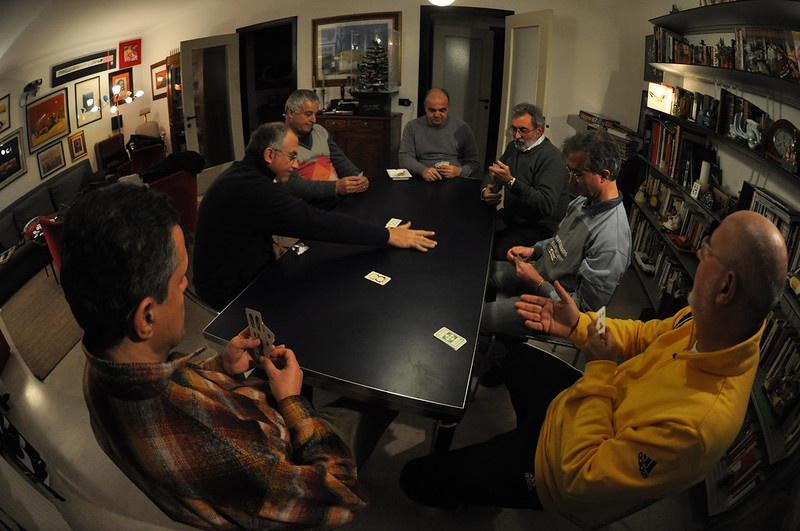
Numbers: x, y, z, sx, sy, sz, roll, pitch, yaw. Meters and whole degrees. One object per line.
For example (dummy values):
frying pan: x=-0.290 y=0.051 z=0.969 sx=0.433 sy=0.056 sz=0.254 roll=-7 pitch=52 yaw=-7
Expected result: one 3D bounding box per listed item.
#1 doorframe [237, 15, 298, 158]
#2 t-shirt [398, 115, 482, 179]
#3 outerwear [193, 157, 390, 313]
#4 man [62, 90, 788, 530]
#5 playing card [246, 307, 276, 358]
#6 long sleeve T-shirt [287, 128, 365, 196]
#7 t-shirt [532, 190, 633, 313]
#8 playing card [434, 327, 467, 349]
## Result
doorframe: x=-0.725 y=-1.037 z=2.753 sx=0.364 sy=0.638 sz=0.029 roll=-24 pitch=50 yaw=-30
t-shirt: x=0.315 y=-0.882 z=3.772 sx=0.716 sy=0.449 sz=0.531 roll=-4 pitch=32 yaw=-1
outerwear: x=-0.537 y=-0.109 z=2.496 sx=0.923 sy=0.676 sz=0.581 roll=13 pitch=25 yaw=3
man: x=0.301 y=0.134 z=1.670 sx=1.513 sy=0.579 sz=1.349 roll=12 pitch=35 yaw=24
playing card: x=-0.482 y=0.234 z=1.672 sx=0.125 sy=0.147 sz=0.014 roll=31 pitch=46 yaw=30
long sleeve T-shirt: x=-0.584 y=-0.771 z=3.581 sx=0.286 sy=0.737 sz=0.510 roll=-4 pitch=25 yaw=-41
t-shirt: x=0.901 y=-0.082 z=2.451 sx=0.325 sy=0.481 sz=0.593 roll=11 pitch=38 yaw=-4
playing card: x=0.187 y=0.267 z=1.798 sx=0.088 sy=0.015 sz=0.063 roll=31 pitch=52 yaw=32
